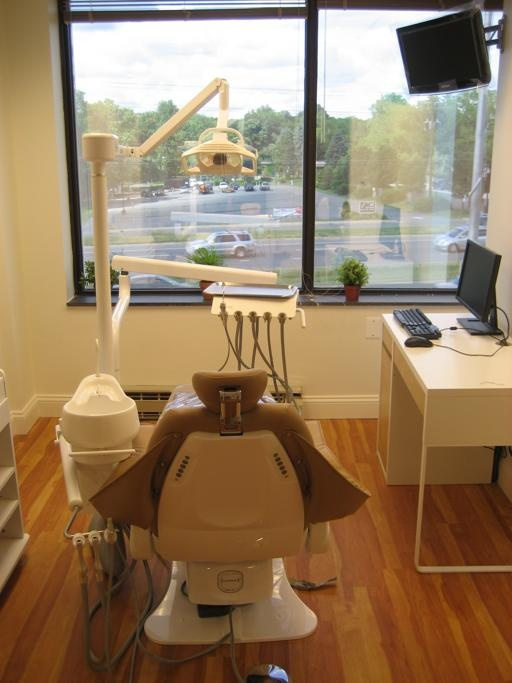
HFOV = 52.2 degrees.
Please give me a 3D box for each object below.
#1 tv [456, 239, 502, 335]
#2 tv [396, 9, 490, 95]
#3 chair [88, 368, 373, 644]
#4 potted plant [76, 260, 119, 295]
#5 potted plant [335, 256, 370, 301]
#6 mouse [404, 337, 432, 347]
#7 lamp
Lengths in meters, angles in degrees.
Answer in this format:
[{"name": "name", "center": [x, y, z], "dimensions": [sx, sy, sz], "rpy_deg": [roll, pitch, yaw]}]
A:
[{"name": "tv", "center": [1.016, -0.234, 2.364], "dimensions": [0.118, 0.339, 0.437], "rpy_deg": [-5, 23, 11]}, {"name": "tv", "center": [0.878, -1.351, 2.483], "dimensions": [0.205, 0.306, 0.475], "rpy_deg": [-6, 14, -33]}, {"name": "chair", "center": [-0.098, 0.399, 1.452], "dimensions": [0.594, 0.701, 0.639], "rpy_deg": [-1, 3, -12]}, {"name": "potted plant", "center": [-0.976, -0.409, 3.310], "dimensions": [0.240, 0.198, 0.220], "rpy_deg": [3, 11, 11]}, {"name": "potted plant", "center": [0.582, -0.367, 3.183], "dimensions": [0.161, 0.258, 0.172], "rpy_deg": [9, 14, 35]}, {"name": "mouse", "center": [0.663, 0.008, 2.145], "dimensions": [0.079, 0.030, 0.048], "rpy_deg": [-3, 15, 4]}, {"name": "lamp", "center": [-0.229, -0.694, 1.726], "dimensions": [0.457, 0.351, 0.266], "rpy_deg": [2, 2, -4]}]
